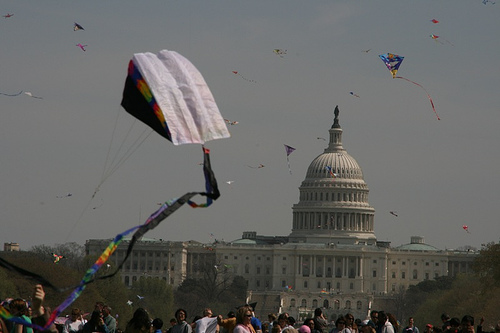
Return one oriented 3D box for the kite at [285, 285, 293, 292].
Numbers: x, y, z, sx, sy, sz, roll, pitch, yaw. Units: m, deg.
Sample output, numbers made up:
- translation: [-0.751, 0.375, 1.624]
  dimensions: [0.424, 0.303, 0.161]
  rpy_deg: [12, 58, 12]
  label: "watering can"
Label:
- translation: [7.292, 21.950, 224.279]
  dimensions: [0.962, 1.287, 0.496]
  rpy_deg: [-3, -38, -2]
  label: "kite"
